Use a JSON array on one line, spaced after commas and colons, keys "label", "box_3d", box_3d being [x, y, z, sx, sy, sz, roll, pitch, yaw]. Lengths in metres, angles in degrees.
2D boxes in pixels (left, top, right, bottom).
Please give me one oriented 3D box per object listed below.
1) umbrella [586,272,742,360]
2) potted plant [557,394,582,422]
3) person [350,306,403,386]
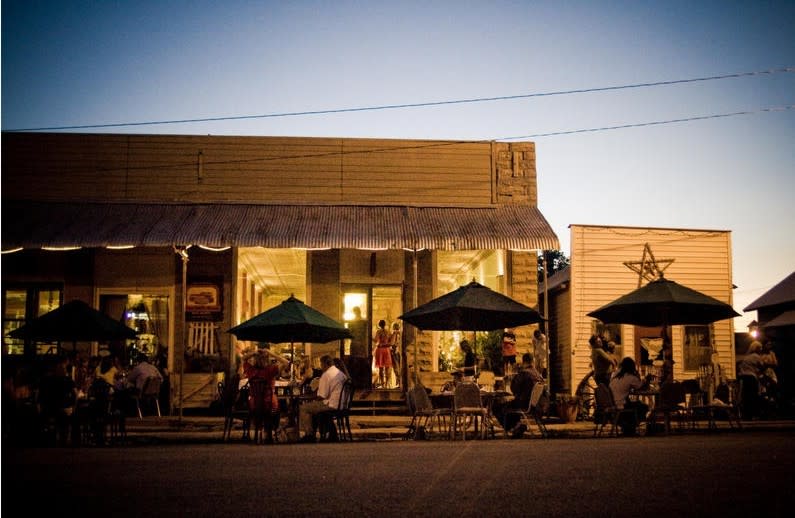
[{"label": "umbrella", "box_3d": [6.223, 1.396, 20.070, 2.442, 1.886, 2.228, -6, -9, 44]}, {"label": "potted plant", "box_3d": [4.717, 4.178, 23.934, 0.690, 0.681, 0.684, 2, -14, 1]}, {"label": "person", "box_3d": [-0.333, 2.722, 24.987, 0.867, 2.003, 1.072, 1, -7, -10]}]
